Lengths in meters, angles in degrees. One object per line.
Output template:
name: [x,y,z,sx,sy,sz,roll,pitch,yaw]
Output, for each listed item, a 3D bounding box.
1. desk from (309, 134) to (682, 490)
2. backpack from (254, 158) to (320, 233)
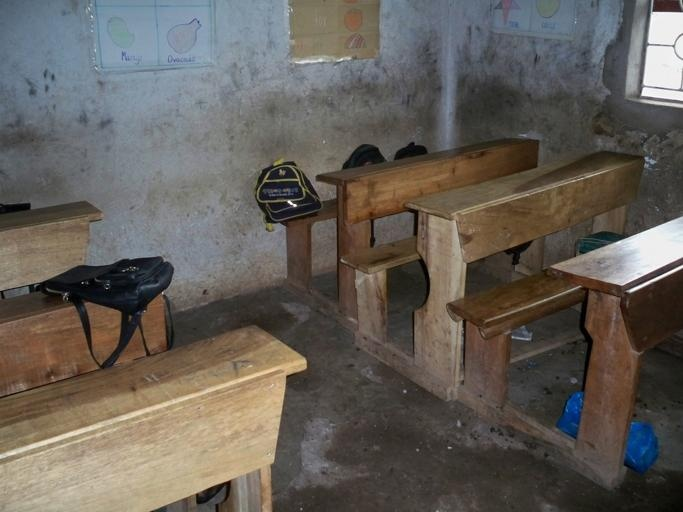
desk: [1.338,0.147,4.225,2.066,1.557,2.588,-14,24,-28]
backpack: [-0.507,-0.560,5.083,0.606,0.565,0.231,-21,3,-5]
